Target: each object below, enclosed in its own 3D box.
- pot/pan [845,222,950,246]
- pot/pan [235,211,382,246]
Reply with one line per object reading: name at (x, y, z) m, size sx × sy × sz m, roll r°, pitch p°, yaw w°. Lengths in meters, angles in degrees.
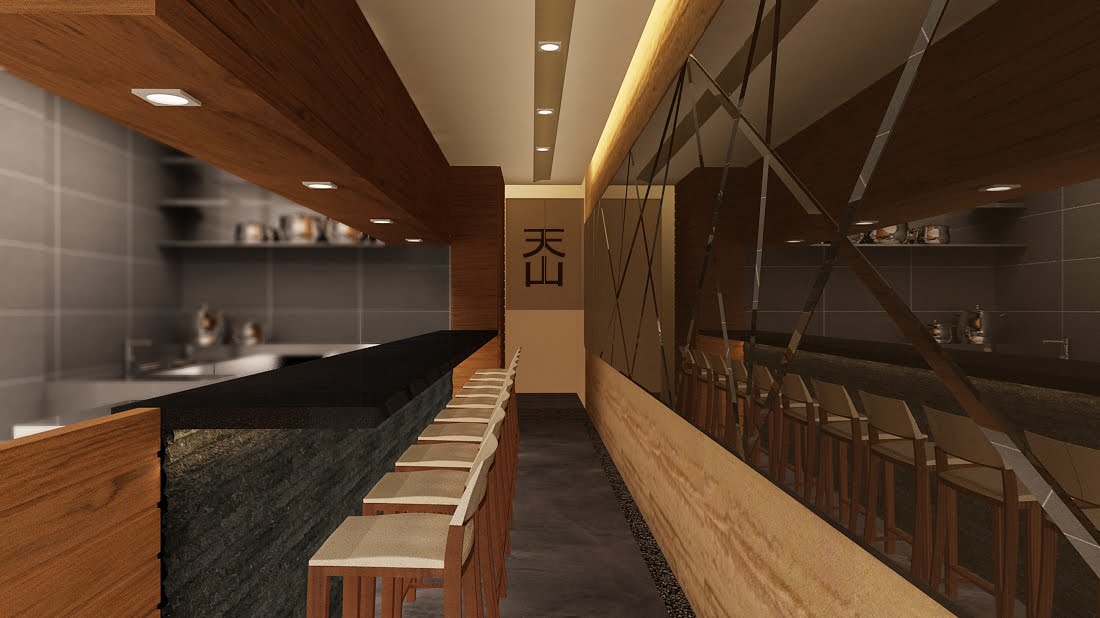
pot/pan at (1.007, -0.216, 1.816) m, size 0.028 × 0.059 × 0.333 m, roll -1°, pitch 7°, yaw -17°
pot/pan at (-2.217, -0.676, 5.562) m, size 0.789 × 0.168 × 0.525 m, roll 1°, pitch -2°, yaw -13°
